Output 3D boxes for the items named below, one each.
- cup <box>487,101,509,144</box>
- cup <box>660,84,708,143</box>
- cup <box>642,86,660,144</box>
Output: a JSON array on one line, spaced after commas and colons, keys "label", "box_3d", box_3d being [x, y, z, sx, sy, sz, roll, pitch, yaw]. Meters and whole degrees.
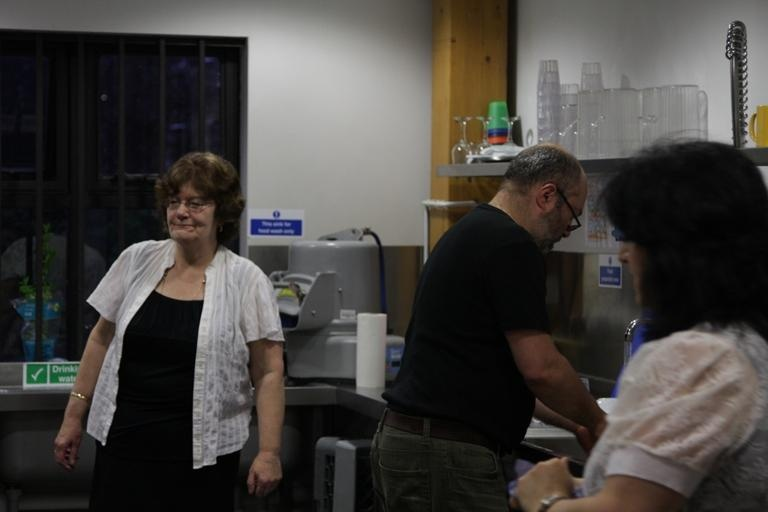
[{"label": "cup", "box_3d": [0.555, -0.654, 3.447, 0.114, 0.215, 0.203, 1, 8, 8]}, {"label": "cup", "box_3d": [1.212, -0.578, 2.793, 0.269, 0.206, 0.145, -6, 9, -37]}, {"label": "cup", "box_3d": [1.068, -0.569, 2.834, 0.062, 0.226, 0.095, 1, 7, 9]}]
